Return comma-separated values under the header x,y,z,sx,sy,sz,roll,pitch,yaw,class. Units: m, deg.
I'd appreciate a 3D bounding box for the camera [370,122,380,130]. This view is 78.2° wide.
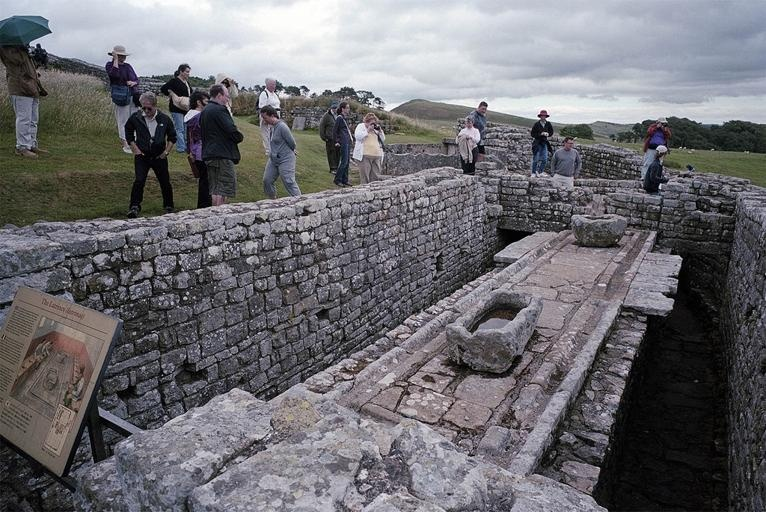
x,y,z,sx,sy,sz,roll,pitch,yaw,class
-0.198,-3.040,11.143,0.166,0.222,0.229,-12,8,-9,camera

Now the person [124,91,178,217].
x,y,z,sx,sy,sz,roll,pitch,yaw,class
-3.895,-1.671,7.732,0.647,1.894,1.144,4,18,12,person

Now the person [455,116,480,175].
x,y,z,sx,sy,sz,roll,pitch,yaw,class
2.316,-2.943,12.698,0.646,1.484,0.930,3,18,10,person

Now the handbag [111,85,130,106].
x,y,z,sx,sy,sz,roll,pitch,yaw,class
-5.157,-3.127,9.189,0.377,0.431,0.239,-3,13,-21,handbag

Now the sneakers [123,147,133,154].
x,y,z,sx,sy,sz,roll,pitch,yaw,class
-5.287,-2.151,9.638,0.306,0.117,0.158,10,-6,45,sneakers

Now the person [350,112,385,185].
x,y,z,sx,sy,sz,roll,pitch,yaw,class
-0.353,-2.454,10.989,0.661,1.617,1.562,-1,18,-3,person

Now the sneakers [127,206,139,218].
x,y,z,sx,sy,sz,roll,pitch,yaw,class
-4.011,-0.698,7.485,0.152,0.158,0.160,-6,24,-13,sneakers

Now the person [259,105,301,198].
x,y,z,sx,sy,sz,roll,pitch,yaw,class
-1.894,-1.811,8.481,0.636,1.661,1.292,-5,19,-14,person

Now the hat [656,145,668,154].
x,y,z,sx,sy,sz,roll,pitch,yaw,class
6.856,-2.570,11.488,0.179,0.192,0.518,12,22,34,hat

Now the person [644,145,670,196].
x,y,z,sx,sy,sz,roll,pitch,yaw,class
7.005,-2.215,11.967,0.506,1.159,1.649,9,20,27,person

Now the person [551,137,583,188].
x,y,z,sx,sy,sz,roll,pitch,yaw,class
4.867,-2.493,12.505,0.614,1.253,0.809,5,19,16,person
